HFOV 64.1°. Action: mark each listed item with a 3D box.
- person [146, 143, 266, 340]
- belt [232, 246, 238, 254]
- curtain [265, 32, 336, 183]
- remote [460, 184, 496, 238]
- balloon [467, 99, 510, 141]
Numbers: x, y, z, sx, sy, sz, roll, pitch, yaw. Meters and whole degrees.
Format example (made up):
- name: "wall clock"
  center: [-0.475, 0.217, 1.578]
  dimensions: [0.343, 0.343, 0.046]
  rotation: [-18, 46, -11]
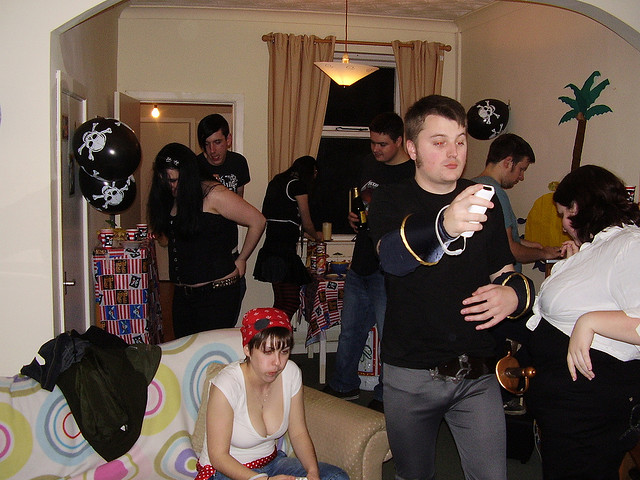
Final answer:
- name: "person"
  center: [-0.584, 0.035, 2.690]
  dimensions: [0.620, 1.048, 0.459]
  rotation: [-1, 7, -21]
- name: "belt"
  center: [-0.541, 0.060, 3.202]
  dimensions: [0.039, 0.018, 0.126]
  rotation: [-16, -11, -12]
- name: "curtain"
  center: [-0.291, -1.352, 5.131]
  dimensions: [0.568, 1.505, 0.157]
  rotation: [6, -8, 18]
- name: "remote"
  center: [0.489, -0.087, 1.526]
  dimensions: [0.033, 0.153, 0.085]
  rotation: [20, 9, -21]
- name: "balloon"
  center: [1.458, -1.053, 4.565]
  dimensions: [0.418, 0.396, 0.274]
  rotation: [8, -6, 19]
